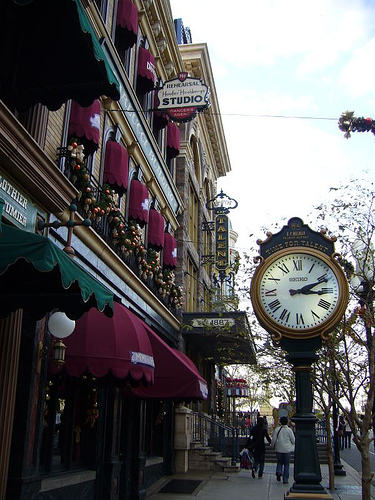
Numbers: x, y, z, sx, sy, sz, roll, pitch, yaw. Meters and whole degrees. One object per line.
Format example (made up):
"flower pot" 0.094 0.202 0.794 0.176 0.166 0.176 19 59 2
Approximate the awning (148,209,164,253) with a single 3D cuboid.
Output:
"awning" -0.905 -0.609 15.568 0.420 1.127 0.574 1 -19 -4

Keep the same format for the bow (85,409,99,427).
"bow" -1.719 2.999 9.765 0.226 0.337 0.097 5 3 18

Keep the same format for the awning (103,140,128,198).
"awning" -1.546 -1.842 11.834 0.337 1.162 0.658 -7 -20 18

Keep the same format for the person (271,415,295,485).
"person" 2.525 5.291 14.491 0.587 1.699 1.209 -3 -19 8

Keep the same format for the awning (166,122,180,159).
"awning" -0.481 -3.945 18.672 0.475 0.823 0.563 -1 9 -30

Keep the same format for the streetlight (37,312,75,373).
"streetlight" -1.518 1.070 6.302 0.336 0.702 0.285 7 -35 -15

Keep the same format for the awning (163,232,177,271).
"awning" -0.575 -0.045 17.257 0.401 1.130 1.125 1 -20 -3

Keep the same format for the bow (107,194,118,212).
"bow" -1.478 -0.959 10.928 0.070 0.278 0.256 -1 3 20

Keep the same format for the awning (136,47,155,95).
"awning" -1.203 -5.156 15.600 0.517 1.346 0.845 0 -19 -2

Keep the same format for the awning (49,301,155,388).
"awning" -1.310 1.459 8.129 0.918 1.019 1.599 -15 -33 26

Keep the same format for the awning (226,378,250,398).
"awning" 3.444 9.528 38.089 1.655 1.177 1.792 5 -25 -11

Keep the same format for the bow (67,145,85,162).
"bow" -1.860 -1.629 9.211 0.224 0.239 0.068 -1 -4 -33

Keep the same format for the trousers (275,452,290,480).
"trousers" 2.504 5.698 14.429 0.322 0.682 0.907 -4 -20 8

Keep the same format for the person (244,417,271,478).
"person" 2.086 5.643 15.776 0.823 1.844 0.548 1 6 7

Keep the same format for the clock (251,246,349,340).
"clock" 1.391 0.517 6.804 1.058 1.319 0.149 -1 -22 3

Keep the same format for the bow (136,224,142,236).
"bow" -1.199 -0.484 13.176 0.053 0.228 0.212 6 6 10

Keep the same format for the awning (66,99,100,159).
"awning" -1.894 -2.454 10.109 0.520 0.918 0.597 -8 -19 30
